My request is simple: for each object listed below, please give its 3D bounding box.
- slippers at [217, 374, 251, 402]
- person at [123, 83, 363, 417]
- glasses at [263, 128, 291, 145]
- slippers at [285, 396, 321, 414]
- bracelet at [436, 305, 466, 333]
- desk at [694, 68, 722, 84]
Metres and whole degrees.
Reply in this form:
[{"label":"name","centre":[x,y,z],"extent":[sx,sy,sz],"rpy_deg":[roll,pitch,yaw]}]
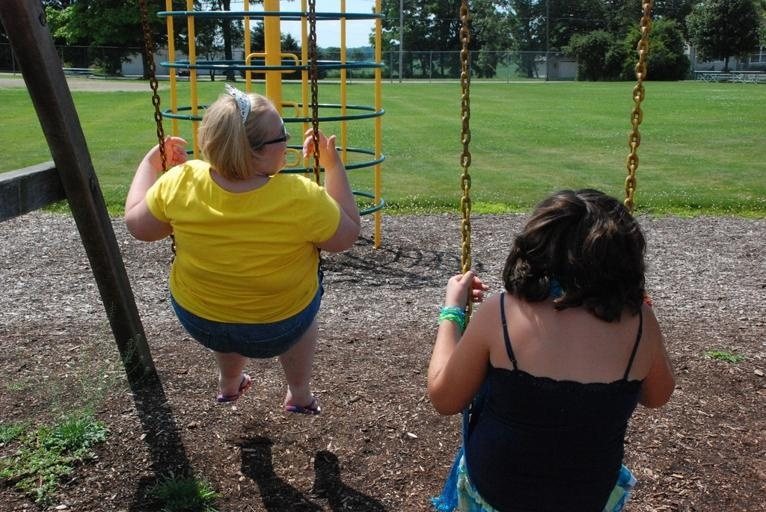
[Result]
[{"label":"slippers","centre":[-0.842,0.780,4.277],"extent":[0.149,0.075,0.233],"rpy_deg":[5,39,10]},{"label":"person","centre":[-0.712,0.052,3.862],"extent":[1.170,1.817,0.557],"rpy_deg":[-2,18,-3]},{"label":"glasses","centre":[-0.506,-0.561,3.562],"extent":[0.094,0.025,0.092],"rpy_deg":[-9,23,-9]},{"label":"slippers","centre":[-0.446,0.857,4.184],"extent":[0.218,0.091,0.096],"rpy_deg":[9,29,-27]},{"label":"bracelet","centre":[0.315,0.298,3.502],"extent":[0.117,0.094,0.128],"rpy_deg":[-9,32,18]},{"label":"desk","centre":[22.653,-12.439,51.868],"extent":[1.652,0.535,4.241],"rpy_deg":[6,19,19]}]
